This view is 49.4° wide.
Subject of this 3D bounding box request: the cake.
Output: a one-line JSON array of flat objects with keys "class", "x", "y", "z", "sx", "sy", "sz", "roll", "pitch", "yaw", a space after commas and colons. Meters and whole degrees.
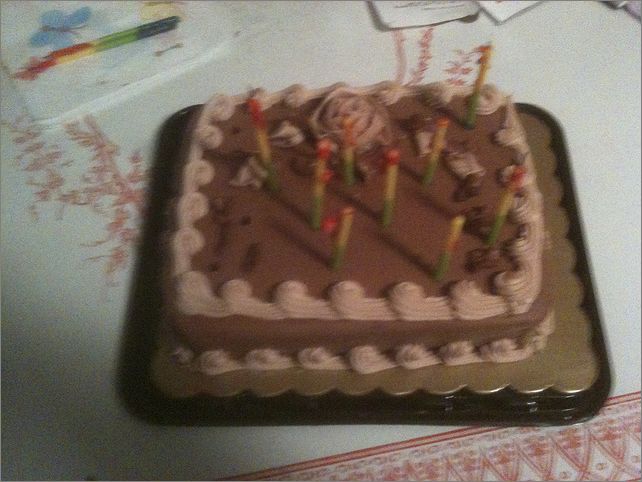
[{"class": "cake", "x": 0.126, "y": -0.114, "z": 2.096, "sx": 1.121, "sy": 1.069, "sz": 0.472, "roll": 2, "pitch": 98, "yaw": 9}]
